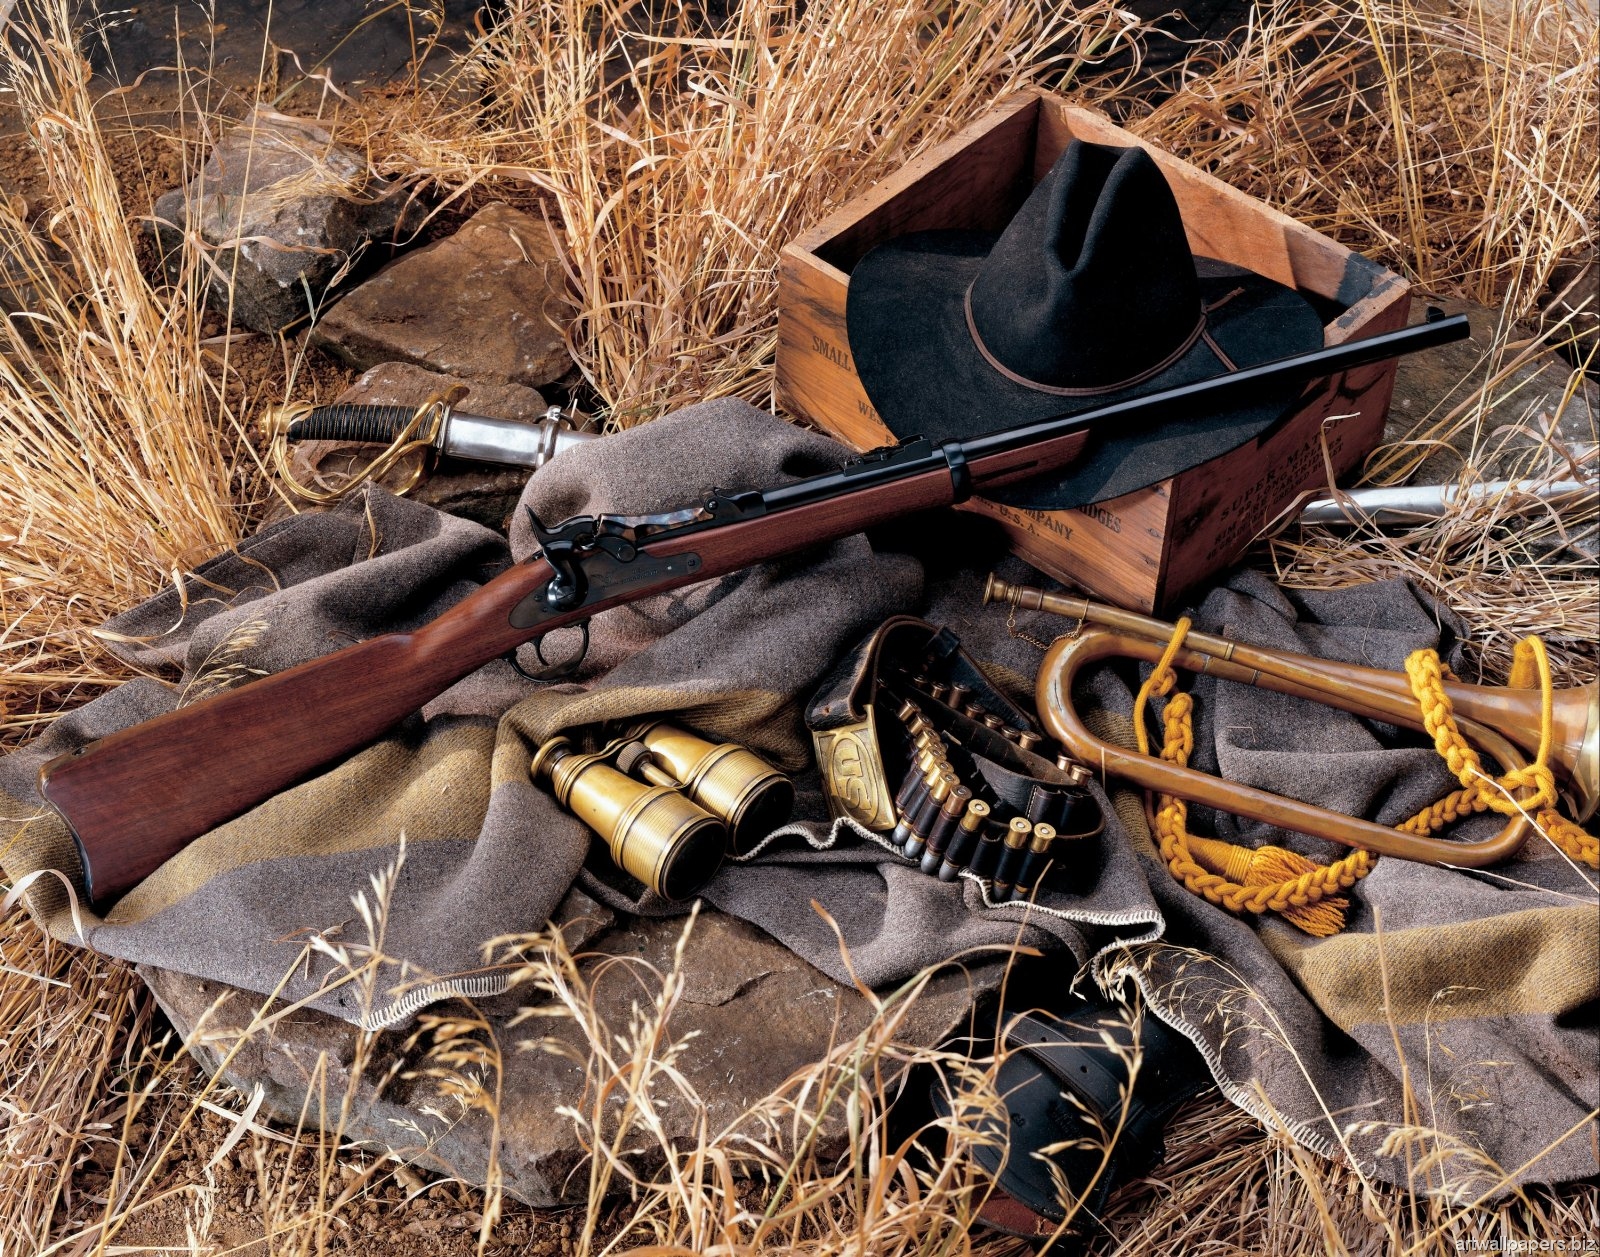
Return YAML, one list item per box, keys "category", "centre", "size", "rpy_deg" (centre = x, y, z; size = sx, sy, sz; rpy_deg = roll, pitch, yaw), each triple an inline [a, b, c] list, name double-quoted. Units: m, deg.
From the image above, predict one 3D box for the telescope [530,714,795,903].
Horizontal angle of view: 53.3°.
- category: "telescope"
  centre: [-0.405, 0.521, 4.738]
  size: [0.709, 0.216, 0.561]
  rpy_deg: [24, 40, 37]
